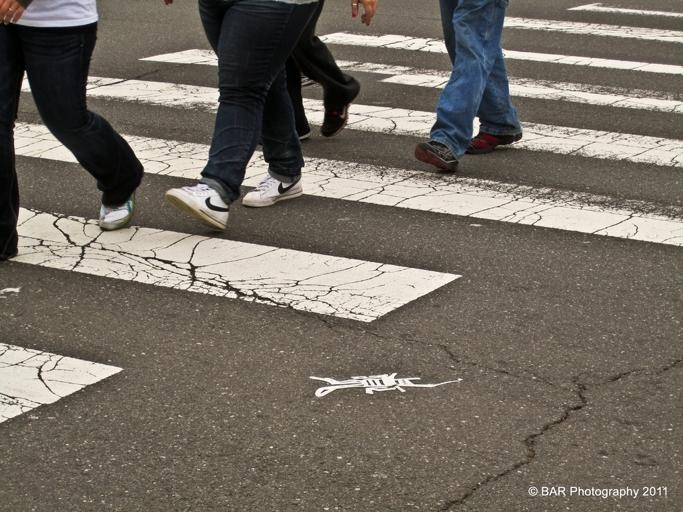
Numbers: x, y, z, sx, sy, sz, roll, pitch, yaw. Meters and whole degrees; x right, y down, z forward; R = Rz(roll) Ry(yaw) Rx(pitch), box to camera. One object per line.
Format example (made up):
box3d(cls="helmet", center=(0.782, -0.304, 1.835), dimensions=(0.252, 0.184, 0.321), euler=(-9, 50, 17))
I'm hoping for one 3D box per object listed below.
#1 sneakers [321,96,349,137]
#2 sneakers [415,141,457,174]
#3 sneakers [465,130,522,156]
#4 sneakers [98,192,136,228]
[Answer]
box3d(cls="sneakers", center=(-0.046, -1.210, 5.964), dimensions=(0.202, 0.340, 0.139), euler=(-6, 44, -38))
box3d(cls="sneakers", center=(0.724, -0.755, 5.185), dimensions=(0.404, 0.160, 0.165), euler=(23, 5, -34))
box3d(cls="sneakers", center=(1.221, -0.946, 5.679), dimensions=(0.565, 0.179, 0.172), euler=(-7, 21, -10))
box3d(cls="sneakers", center=(-1.339, -0.262, 4.188), dimensions=(0.139, 0.124, 0.262), euler=(9, 63, 9))
